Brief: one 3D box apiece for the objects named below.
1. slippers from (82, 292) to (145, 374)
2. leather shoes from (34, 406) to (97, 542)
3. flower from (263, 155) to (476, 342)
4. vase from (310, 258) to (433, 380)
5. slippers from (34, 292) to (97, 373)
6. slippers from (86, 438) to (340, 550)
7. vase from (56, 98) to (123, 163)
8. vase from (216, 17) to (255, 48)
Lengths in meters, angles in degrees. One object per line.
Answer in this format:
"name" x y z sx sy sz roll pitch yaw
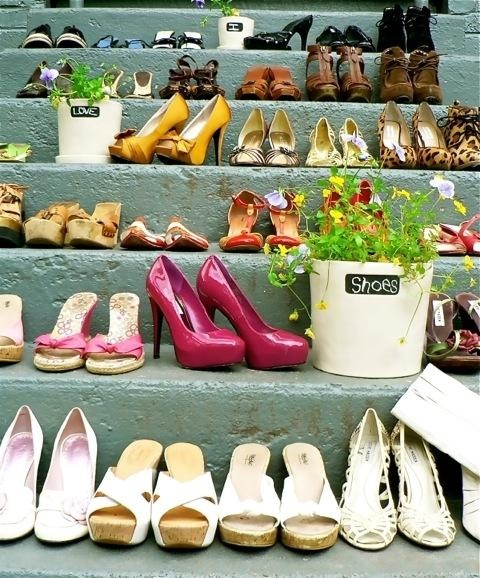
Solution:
"slippers" -0.312 0.105 1.185 0.140 0.105 0.348 -6 22 -6
"leather shoes" -0.325 0.340 0.914 0.097 0.162 0.244 -3 12 -13
"flower" 0.322 -0.090 1.213 0.482 0.398 0.661 -1 25 0
"vase" 0.275 0.065 1.072 0.253 0.263 0.111 4 13 18
"slippers" -0.417 0.097 1.187 0.105 0.106 0.262 7 18 -2
"slippers" -0.042 0.386 0.914 0.431 0.133 0.245 0 12 -1
"vase" -0.516 -0.534 1.658 0.227 0.205 0.095 -4 13 -17
"vase" -0.029 -1.258 2.439 0.184 0.129 0.164 3 11 12
